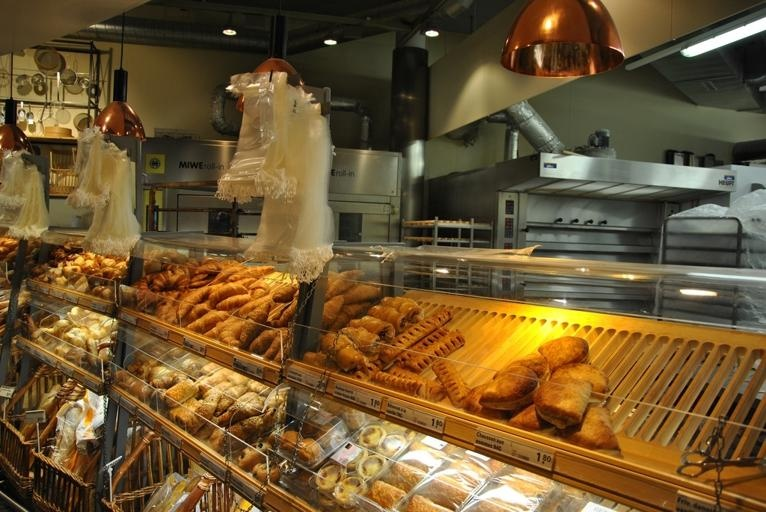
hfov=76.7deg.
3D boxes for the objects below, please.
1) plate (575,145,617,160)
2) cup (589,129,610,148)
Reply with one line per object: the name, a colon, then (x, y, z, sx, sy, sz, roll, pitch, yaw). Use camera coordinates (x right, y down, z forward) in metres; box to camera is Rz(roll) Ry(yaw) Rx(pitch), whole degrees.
plate: (2.008, -0.992, 4.637, 0.382, 0.133, 0.402, 7, 7, 34)
cup: (2.133, -1.138, 4.703, 0.178, 0.230, 0.318, 6, 7, 26)
